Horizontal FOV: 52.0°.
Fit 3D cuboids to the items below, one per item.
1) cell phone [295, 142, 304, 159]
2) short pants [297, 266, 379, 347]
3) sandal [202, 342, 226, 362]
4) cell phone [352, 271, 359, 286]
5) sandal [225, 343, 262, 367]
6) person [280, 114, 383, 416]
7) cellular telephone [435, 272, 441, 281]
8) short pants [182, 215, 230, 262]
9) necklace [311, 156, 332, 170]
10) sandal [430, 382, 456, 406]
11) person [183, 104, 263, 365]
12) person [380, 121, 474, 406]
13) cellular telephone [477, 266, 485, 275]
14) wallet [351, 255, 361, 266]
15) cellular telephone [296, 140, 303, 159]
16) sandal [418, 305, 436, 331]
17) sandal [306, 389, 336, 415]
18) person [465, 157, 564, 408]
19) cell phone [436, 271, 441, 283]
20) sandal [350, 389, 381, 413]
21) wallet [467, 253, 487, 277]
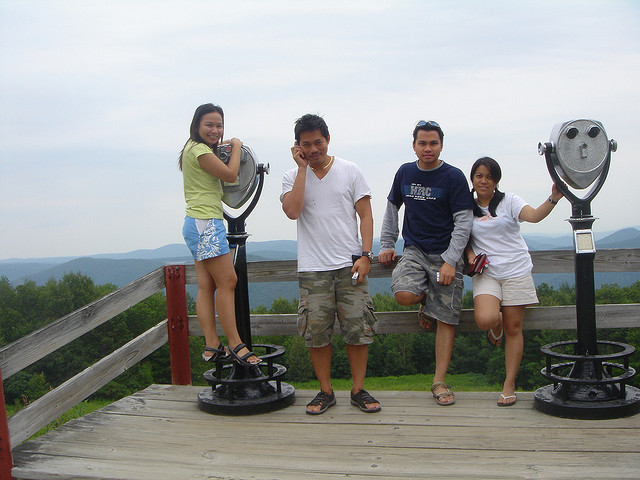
[{"bbox_3d":[-0.160,-0.714,5.297,0.031,0.135,0.104,0,-18,-23],"label":"cell phone"},{"bbox_3d":[0.131,0.456,5.422,0.631,0.829,0.310,-3,24,-1],"label":"short pants"},{"bbox_3d":[-0.871,0.931,5.394,0.195,0.153,0.118,-8,6,-23],"label":"sandal"},{"bbox_3d":[0.288,0.304,5.282,0.037,0.104,0.108,-2,-3,7],"label":"cell phone"},{"bbox_3d":[-0.651,0.923,5.427,0.350,0.157,0.145,20,25,33],"label":"sandal"},{"bbox_3d":[0.102,0.192,5.360,0.751,2.418,0.489,-5,6,-4],"label":"person"},{"bbox_3d":[0.976,0.303,5.373,0.021,0.080,0.079,-6,6,-10],"label":"cellular telephone"},{"bbox_3d":[-1.043,0.021,5.499,0.302,0.376,0.493,3,-11,-37],"label":"short pants"},{"bbox_3d":[0.018,-0.623,5.395,0.178,0.093,0.039,-6,6,-4],"label":"necklace"},{"bbox_3d":[1.027,1.248,5.432,0.195,0.186,0.197,-5,6,7],"label":"sandal"},{"bbox_3d":[-0.829,0.018,5.456,0.544,2.267,0.706,-6,6,-11],"label":"person"},{"bbox_3d":[0.917,0.181,5.508,0.807,2.305,0.578,-5,6,4],"label":"person"},{"bbox_3d":[1.314,0.257,5.349,0.029,0.108,0.025,30,8,4],"label":"cellular telephone"},{"bbox_3d":[0.297,0.170,5.318,0.070,0.078,0.012,7,-8,-16],"label":"wallet"},{"bbox_3d":[-0.161,-0.721,5.297,0.038,0.144,0.099,2,-21,-16],"label":"cellular telephone"},{"bbox_3d":[0.924,0.693,5.595,0.101,0.306,0.123,-5,36,1],"label":"sandal"},{"bbox_3d":[0.022,1.327,5.345,0.104,0.124,0.301,-4,-8,26],"label":"sandal"},{"bbox_3d":[1.554,0.329,5.342,0.690,2.010,0.508,-4,6,12],"label":"person"},{"bbox_3d":[0.975,0.303,5.374,0.025,0.098,0.084,-6,6,-6],"label":"cell phone"},{"bbox_3d":[0.363,1.303,5.344,0.119,0.101,0.239,-9,4,-31],"label":"sandal"},{"bbox_3d":[1.273,0.197,5.336,0.044,0.187,0.104,35,-10,-18],"label":"wallet"}]
